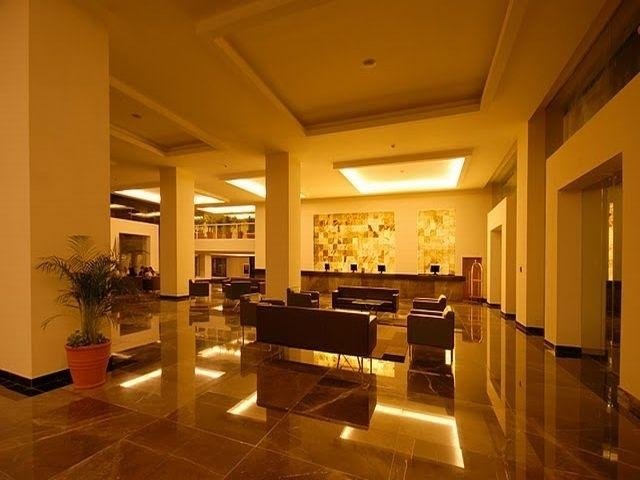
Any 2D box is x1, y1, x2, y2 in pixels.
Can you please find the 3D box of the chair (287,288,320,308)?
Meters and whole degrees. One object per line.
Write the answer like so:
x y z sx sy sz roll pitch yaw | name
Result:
-0.500 1.608 12.682 0.623 0.711 0.629 0 -4 14 | chair

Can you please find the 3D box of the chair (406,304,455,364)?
2.394 1.988 10.114 0.989 1.126 0.890 1 2 16 | chair

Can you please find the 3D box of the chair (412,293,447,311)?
2.786 1.615 11.841 0.648 0.439 0.641 -1 -5 28 | chair

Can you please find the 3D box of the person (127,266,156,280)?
-7.868 1.450 20.578 1.227 0.545 0.956 1 0 13 | person

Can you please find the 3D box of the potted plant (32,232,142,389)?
-4.374 1.302 8.754 1.579 2.911 1.949 -3 -3 28 | potted plant
